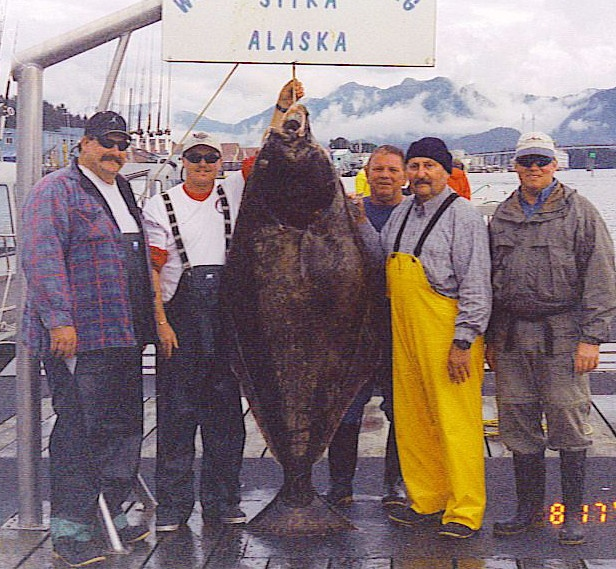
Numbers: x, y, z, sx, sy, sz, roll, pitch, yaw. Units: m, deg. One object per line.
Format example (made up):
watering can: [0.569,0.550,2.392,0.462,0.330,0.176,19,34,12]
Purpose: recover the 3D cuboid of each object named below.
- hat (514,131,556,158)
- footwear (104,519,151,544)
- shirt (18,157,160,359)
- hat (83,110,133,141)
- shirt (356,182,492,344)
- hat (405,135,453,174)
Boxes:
hat: [1.056,-0.656,4.053,0.182,0.065,0.179,1,2,14]
footwear: [-0.846,1.190,4.144,0.254,0.102,0.027,-4,-42,-30]
shirt: [-1.074,-0.119,3.994,0.506,0.877,0.162,-5,9,-15]
hat: [-0.925,-0.738,4.019,0.175,0.072,0.199,2,-6,-33]
shirt: [0.583,-0.098,4.102,0.549,0.719,0.220,2,10,33]
hat: [0.592,-0.626,4.166,0.287,0.121,0.217,7,-5,13]
